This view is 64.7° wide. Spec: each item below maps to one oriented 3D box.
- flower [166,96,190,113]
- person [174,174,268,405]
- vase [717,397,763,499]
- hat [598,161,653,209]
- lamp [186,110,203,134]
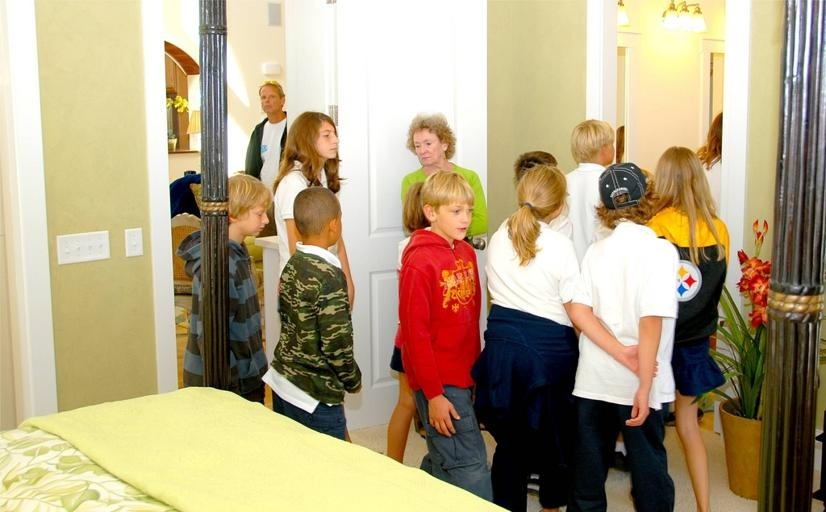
[{"bbox_3d":[-3.206,-2.071,8.834,0.274,0.249,0.428,-4,4,-17],"label":"flower"},{"bbox_3d":[-0.921,0.182,3.114,0.479,1.180,0.886,-3,4,-10],"label":"person"},{"bbox_3d":[1.820,1.043,3.482,0.297,0.399,0.317,1,-16,23],"label":"vase"},{"bbox_3d":[0.910,-0.301,2.839,0.167,0.123,0.222,-4,46,31],"label":"hat"},{"bbox_3d":[-3.016,-1.829,8.910,0.174,0.334,0.099,-2,4,11],"label":"lamp"}]
